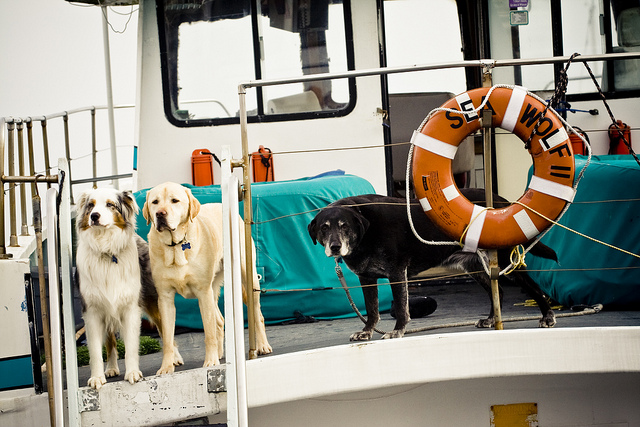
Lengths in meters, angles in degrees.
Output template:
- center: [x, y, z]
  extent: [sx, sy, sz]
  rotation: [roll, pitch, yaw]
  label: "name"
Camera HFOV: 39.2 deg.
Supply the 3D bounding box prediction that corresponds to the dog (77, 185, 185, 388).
- center: [-1.592, 0.554, 7.184]
  extent: [0.558, 1.549, 0.580]
  rotation: [-1, 5, 15]
  label: "dog"
